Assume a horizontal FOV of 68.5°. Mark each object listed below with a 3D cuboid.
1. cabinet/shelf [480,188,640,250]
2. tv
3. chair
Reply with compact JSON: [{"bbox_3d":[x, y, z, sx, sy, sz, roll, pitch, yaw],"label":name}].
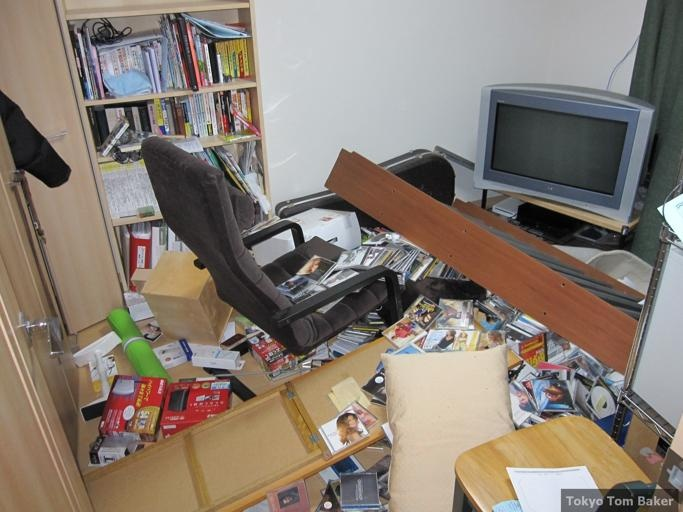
[{"bbox_3d":[1.750,-0.390,4.193,0.607,0.504,0.871,-2,24,-20],"label":"cabinet/shelf"},{"bbox_3d":[1.592,-0.722,3.512,0.935,0.718,0.507,23,45,25],"label":"tv"},{"bbox_3d":[-0.289,-0.067,2.541,0.952,1.244,0.916,-23,37,-23],"label":"chair"}]
